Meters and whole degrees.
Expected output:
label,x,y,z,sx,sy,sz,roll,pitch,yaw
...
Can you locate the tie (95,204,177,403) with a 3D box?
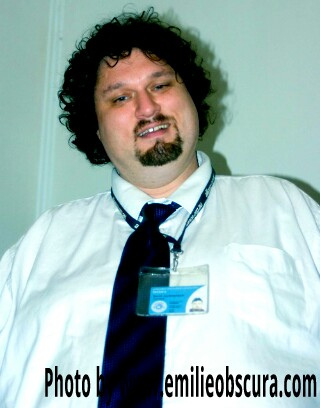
label,x,y,z,sx,sy,sz,roll,pitch,yaw
tie,-0.050,0.208,0.966,0.143,0.427,0.120,-4,-29,4
